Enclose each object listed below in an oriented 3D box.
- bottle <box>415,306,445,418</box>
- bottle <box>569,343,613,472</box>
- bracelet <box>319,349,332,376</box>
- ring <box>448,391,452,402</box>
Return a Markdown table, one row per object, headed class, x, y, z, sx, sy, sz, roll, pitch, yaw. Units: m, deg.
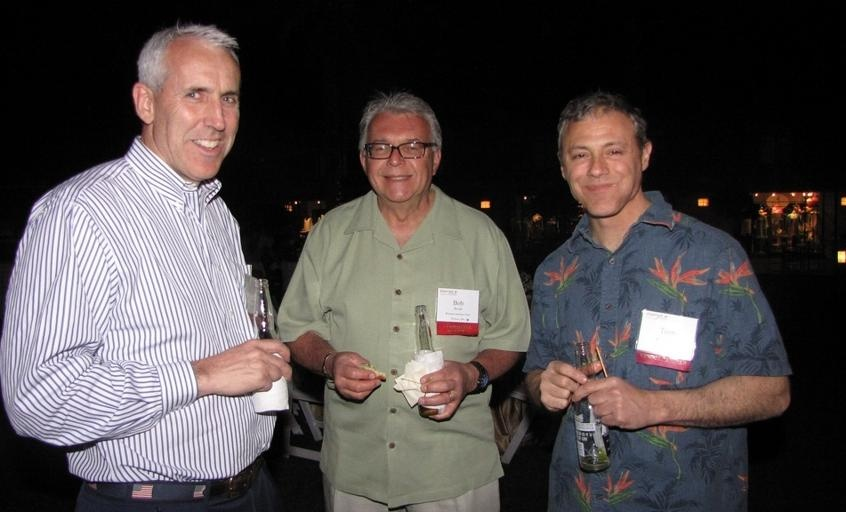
| class | x | y | z | sx | sy | sz | roll | pitch | yaw |
| --- | --- | --- | --- | --- | --- | --- | --- | --- | --- |
| bottle | 0.029 | 0.684 | 3.573 | 0.151 | 0.775 | 0.350 | -1 | 2 | -1 |
| bottle | 1.004 | 0.906 | 3.319 | 0.193 | 0.835 | 0.294 | 0 | 2 | 22 |
| bracelet | -0.637 | 0.716 | 3.709 | 0.069 | 0.151 | 0.095 | -2 | 2 | -28 |
| ring | 0.172 | 0.862 | 3.455 | 0.020 | 0.046 | 0.038 | -3 | -4 | -2 |
